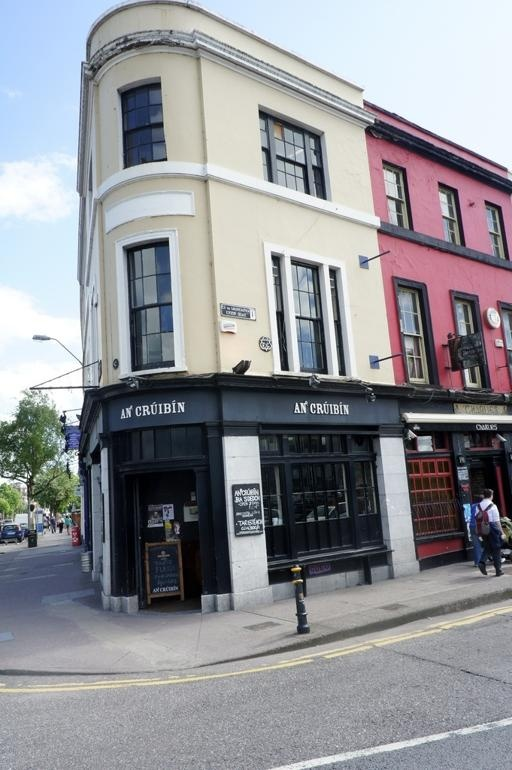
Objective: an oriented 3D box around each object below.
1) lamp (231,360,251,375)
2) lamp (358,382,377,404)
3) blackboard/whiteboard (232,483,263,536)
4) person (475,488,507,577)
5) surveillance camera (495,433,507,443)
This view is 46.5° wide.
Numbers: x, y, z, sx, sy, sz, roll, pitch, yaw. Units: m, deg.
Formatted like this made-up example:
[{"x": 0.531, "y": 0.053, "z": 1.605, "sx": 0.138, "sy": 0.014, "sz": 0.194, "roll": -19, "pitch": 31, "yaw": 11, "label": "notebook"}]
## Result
[{"x": -0.274, "y": -0.347, "z": 10.896, "sx": 0.192, "sy": 0.173, "sz": 0.346, "roll": 4, "pitch": -21, "yaw": -15, "label": "lamp"}, {"x": 2.533, "y": 0.170, "z": 13.492, "sx": 0.177, "sy": 0.400, "sz": 0.664, "roll": -10, "pitch": -11, "yaw": 31, "label": "lamp"}, {"x": -0.183, "y": 2.258, "z": 10.747, "sx": 0.839, "sy": 1.198, "sz": 0.116, "roll": 7, "pitch": -19, "yaw": -39, "label": "blackboard/whiteboard"}, {"x": 4.872, "y": 3.067, "z": 12.543, "sx": 0.546, "sy": 1.695, "sz": 1.318, "roll": -7, "pitch": -10, "yaw": 19, "label": "person"}, {"x": 7.033, "y": 1.528, "z": 17.155, "sx": 0.168, "sy": 0.264, "sz": 0.525, "roll": -13, "pitch": -13, "yaw": 42, "label": "surveillance camera"}]
